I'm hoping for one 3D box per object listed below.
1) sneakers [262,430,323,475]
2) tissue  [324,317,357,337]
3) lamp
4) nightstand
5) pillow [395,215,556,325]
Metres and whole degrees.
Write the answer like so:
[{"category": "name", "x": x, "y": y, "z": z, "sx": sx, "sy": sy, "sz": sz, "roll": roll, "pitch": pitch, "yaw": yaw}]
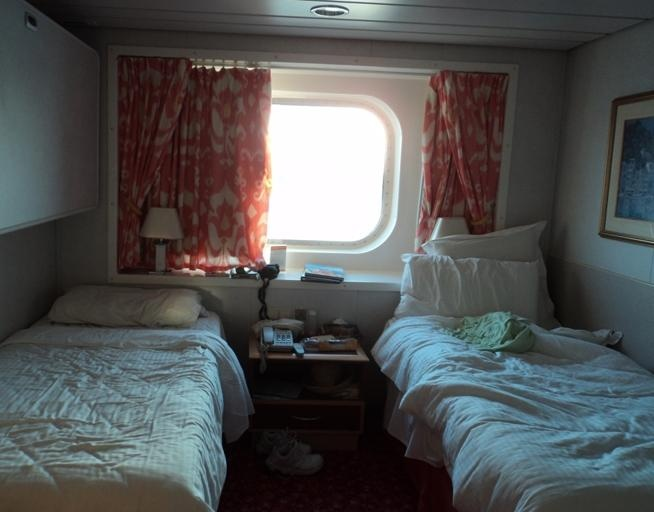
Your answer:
[{"category": "sneakers", "x": -0.215, "y": 1.130, "z": 2.834, "sx": 0.384, "sy": 0.181, "sz": 0.216, "roll": 2, "pitch": 8, "yaw": 1}, {"category": "tissue ", "x": 0.087, "y": 0.474, "z": 3.248, "sx": 0.153, "sy": 0.059, "sz": 0.118, "roll": 2, "pitch": 8, "yaw": -9}, {"category": "lamp", "x": -1.093, "y": -0.107, "z": 3.227, "sx": 0.263, "sy": 0.440, "sz": 0.248, "roll": -1, "pitch": 8, "yaw": -18}, {"category": "nightstand", "x": -0.115, "y": 0.768, "z": 3.241, "sx": 0.634, "sy": 0.644, "sz": 0.693, "roll": 0, "pitch": 8, "yaw": -2}, {"category": "pillow", "x": 0.994, "y": 0.093, "z": 3.230, "sx": 1.056, "sy": 0.655, "sz": 0.535, "roll": 3, "pitch": 8, "yaw": 6}]
